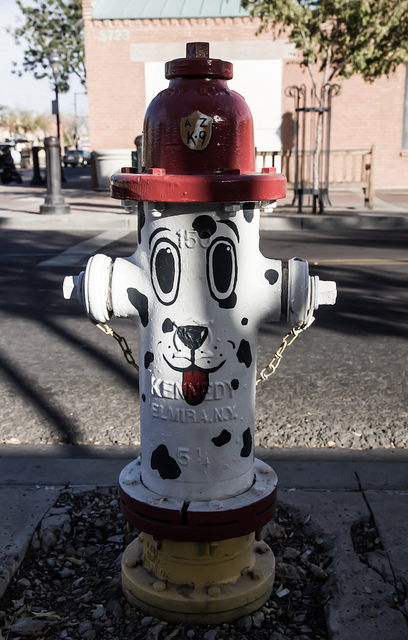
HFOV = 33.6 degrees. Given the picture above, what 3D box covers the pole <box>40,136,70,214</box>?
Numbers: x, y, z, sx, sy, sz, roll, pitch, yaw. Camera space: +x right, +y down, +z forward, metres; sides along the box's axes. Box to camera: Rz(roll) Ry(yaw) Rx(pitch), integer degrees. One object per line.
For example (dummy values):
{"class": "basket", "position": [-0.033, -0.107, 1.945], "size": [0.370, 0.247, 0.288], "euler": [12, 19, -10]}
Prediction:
{"class": "pole", "position": [-2.992, -2.826, 13.635], "size": [0.455, 1.737, 0.425], "euler": [1, 19, -4]}
